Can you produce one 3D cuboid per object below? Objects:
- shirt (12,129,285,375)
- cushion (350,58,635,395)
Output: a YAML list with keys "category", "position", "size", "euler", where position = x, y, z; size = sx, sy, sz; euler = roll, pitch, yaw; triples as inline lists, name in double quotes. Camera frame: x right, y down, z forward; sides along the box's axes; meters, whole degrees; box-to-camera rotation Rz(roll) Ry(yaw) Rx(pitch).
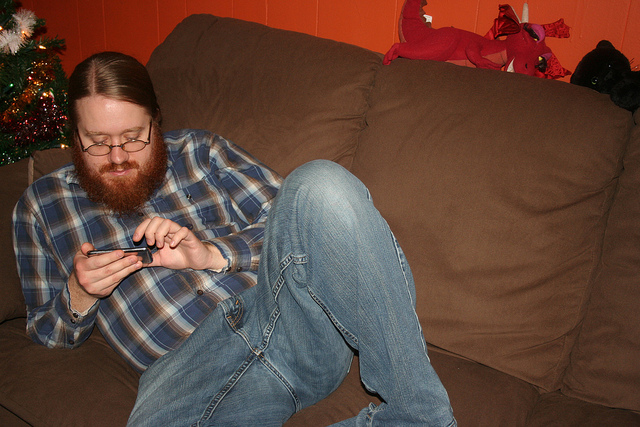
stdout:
- category: "shirt"
  position: [-0.632, 0.125, 2.131]
  size: [0.784, 0.337, 0.876]
  euler: [-29, 55, -2]
- category: "cushion"
  position: [0.635, 0.004, 2.035]
  size: [1.102, 1.071, 0.289]
  euler: [12, 5, 5]
